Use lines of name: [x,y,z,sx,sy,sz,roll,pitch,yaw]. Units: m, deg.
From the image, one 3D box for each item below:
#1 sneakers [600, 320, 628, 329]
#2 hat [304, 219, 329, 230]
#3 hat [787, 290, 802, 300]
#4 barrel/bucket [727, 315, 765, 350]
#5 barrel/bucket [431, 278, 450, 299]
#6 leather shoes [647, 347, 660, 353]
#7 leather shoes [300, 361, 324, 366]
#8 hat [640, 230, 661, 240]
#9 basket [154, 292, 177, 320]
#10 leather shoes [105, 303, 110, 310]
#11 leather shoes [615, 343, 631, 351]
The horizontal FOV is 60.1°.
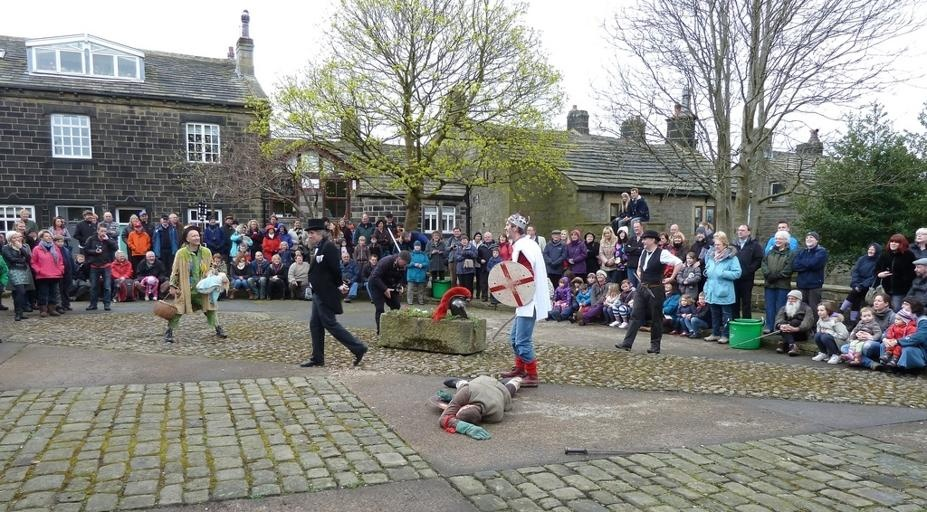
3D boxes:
sneakers: [4.741,2.123,24.877,0.665,0.268,0.225,0,-6,32]
hat: [-3.959,-0.846,21.489,0.578,0.236,0.647,0,1,-12]
hat: [9.418,1.123,22.755,0.301,0.225,0.290,13,-1,-32]
barrel/bucket: [8.132,2.242,23.028,0.821,0.774,0.912,-3,-7,39]
barrel/bucket: [-0.819,1.198,29.353,0.711,0.772,0.643,-2,-8,15]
leather shoes: [5.272,2.595,22.208,0.357,0.166,0.265,1,3,9]
leather shoes: [-3.947,2.808,20.881,0.580,0.217,0.203,3,-7,-1]
hat: [5.219,-0.584,22.493,0.470,0.250,0.539,1,3,8]
basket: [-8.674,1.467,23.289,0.816,0.752,0.782,12,-3,-18]
leather shoes: [-11.627,1.670,26.121,0.116,0.123,0.307,2,-6,-40]
leather shoes: [4.443,2.535,22.336,0.411,0.201,0.173,17,0,10]
